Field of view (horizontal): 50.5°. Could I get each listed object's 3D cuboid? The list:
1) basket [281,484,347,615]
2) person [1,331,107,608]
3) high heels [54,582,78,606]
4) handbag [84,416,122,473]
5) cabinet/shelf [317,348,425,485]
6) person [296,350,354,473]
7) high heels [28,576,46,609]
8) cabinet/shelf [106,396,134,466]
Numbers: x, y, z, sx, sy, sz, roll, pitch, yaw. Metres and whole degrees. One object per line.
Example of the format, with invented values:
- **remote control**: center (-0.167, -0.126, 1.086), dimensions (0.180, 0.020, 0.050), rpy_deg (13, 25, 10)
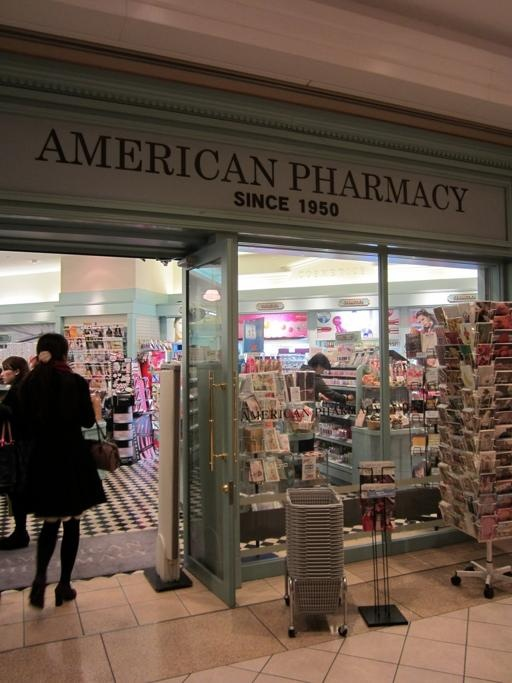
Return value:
- **basket**: center (0.335, 1.253, 3.096), dimensions (0.331, 0.724, 0.391), rpy_deg (-1, -4, 2)
- **person**: center (-1.202, 0.791, 3.310), dimensions (0.493, 1.679, 0.487), rpy_deg (2, -5, -32)
- **high heels**: center (-1.177, 1.579, 3.390), dimensions (0.069, 0.132, 0.174), rpy_deg (3, 3, 27)
- **handbag**: center (-0.971, 0.658, 3.367), dimensions (0.249, 0.330, 0.115), rpy_deg (-7, -1, 21)
- **cabinet/shelf**: center (0.953, 0.599, 4.408), dimensions (0.822, 1.054, 0.820), rpy_deg (-2, -4, 13)
- **person**: center (0.652, 0.491, 4.762), dimensions (0.372, 0.838, 0.554), rpy_deg (-14, -38, -2)
- **high heels**: center (-1.312, 1.497, 3.255), dimensions (0.137, 0.192, 0.077), rpy_deg (4, 0, -27)
- **cabinet/shelf**: center (-1.982, 1.257, 8.198), dimensions (0.344, 0.931, 0.374), rpy_deg (-6, 12, -28)
